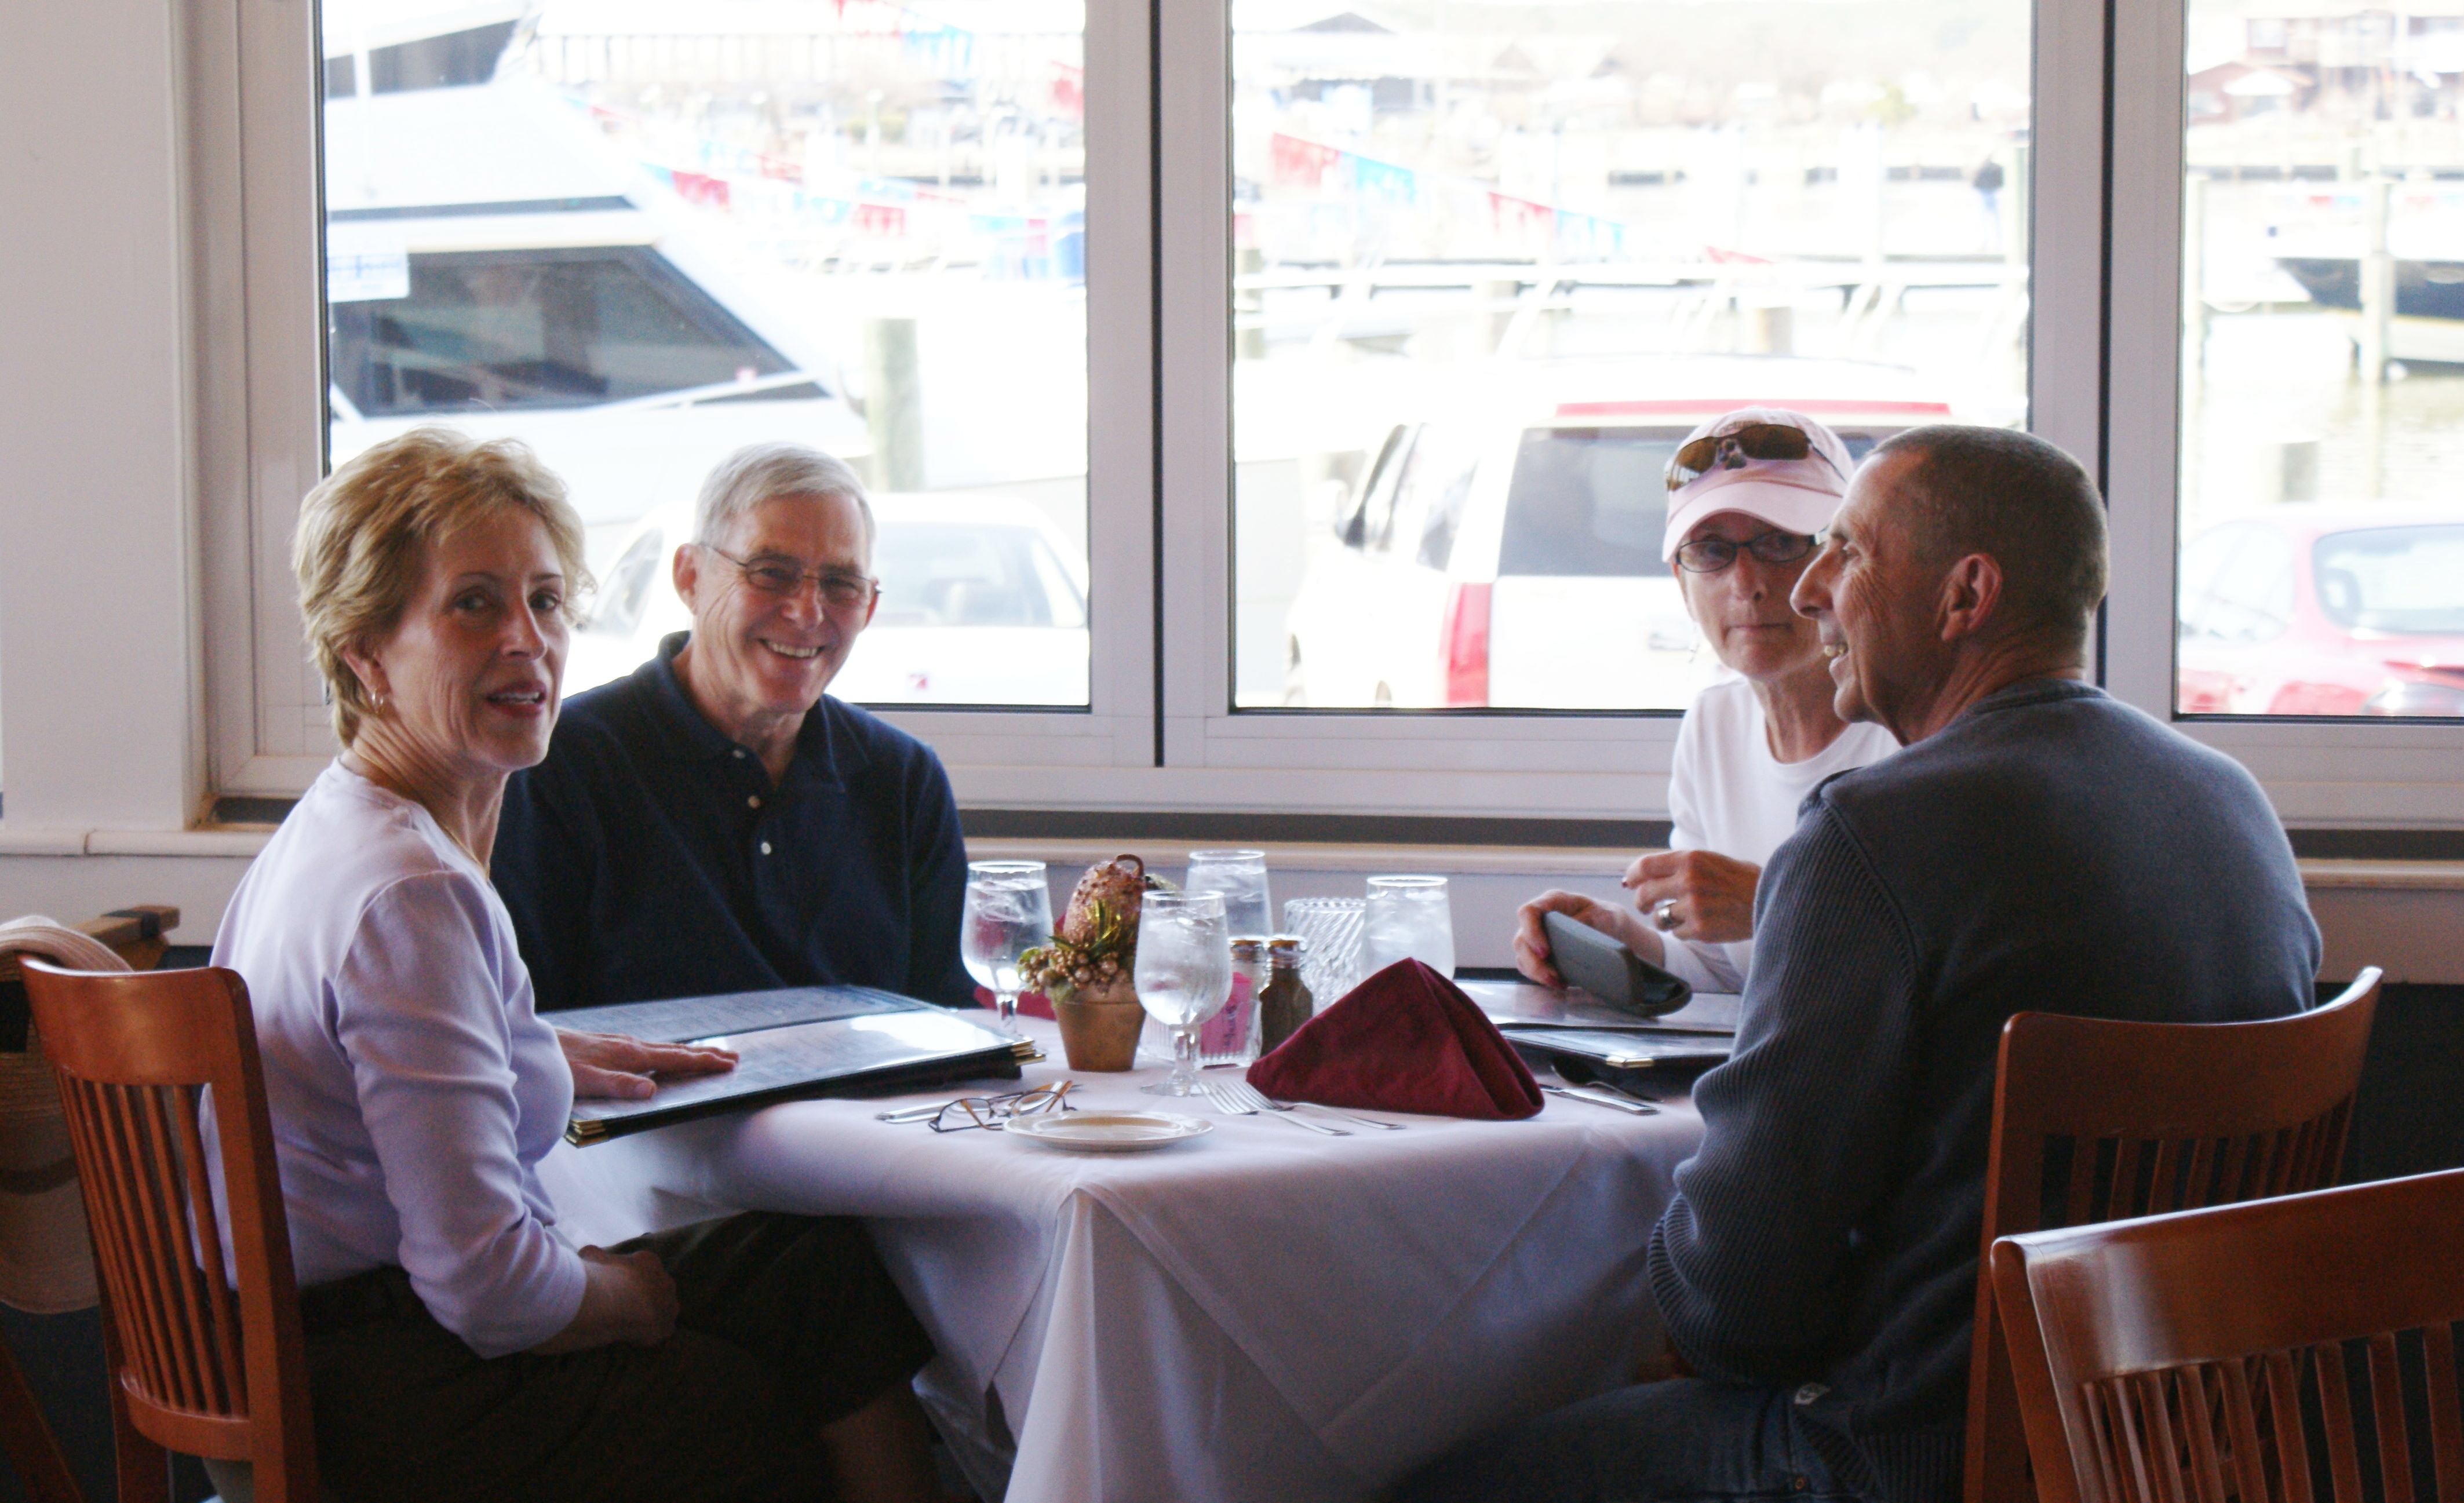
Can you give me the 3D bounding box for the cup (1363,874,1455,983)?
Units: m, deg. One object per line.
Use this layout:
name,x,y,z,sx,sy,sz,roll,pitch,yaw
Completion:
cup,0.235,0.227,2.822,0.119,0.109,0.119,-1,5,0

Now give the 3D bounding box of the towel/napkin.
towel/napkin,0.194,0.341,2.619,0.242,0.114,0.192,0,-4,15

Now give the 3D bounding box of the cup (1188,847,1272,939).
cup,0.012,0.187,2.901,0.112,0.103,0.109,1,-1,0

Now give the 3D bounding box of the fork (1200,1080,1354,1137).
fork,0.059,0.417,2.544,0.029,0.019,0.160,-14,15,-34

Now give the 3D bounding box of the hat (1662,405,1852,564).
hat,0.760,-0.392,3.196,0.200,0.138,0.291,-11,2,22

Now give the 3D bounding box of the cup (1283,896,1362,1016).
cup,0.128,0.260,2.875,0.122,0.169,0.122,0,2,0
